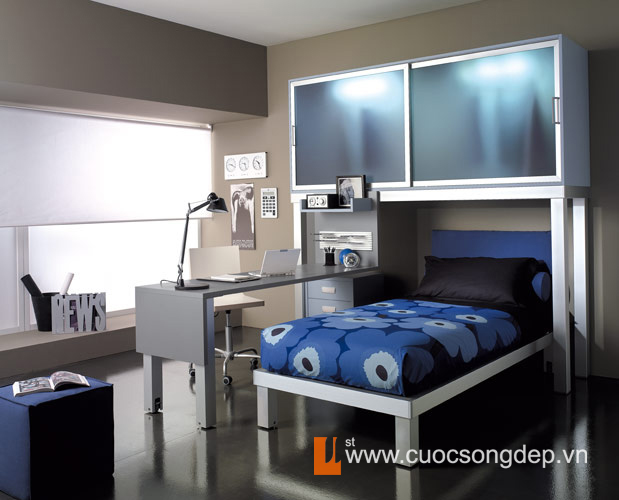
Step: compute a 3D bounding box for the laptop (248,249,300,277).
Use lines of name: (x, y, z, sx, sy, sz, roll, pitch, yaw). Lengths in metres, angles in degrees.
laptop: (-0.258, 0.096, 3.963, 0.272, 0.188, 0.249, -3, 5, -41)

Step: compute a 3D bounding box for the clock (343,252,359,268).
clock: (0.410, 0.106, 4.871, 0.122, 0.144, 0.053, 0, -10, 10)

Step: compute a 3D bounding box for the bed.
bed: (0.869, 0.540, 3.831, 1.295, 1.373, 2.319, 0, 2, 39)

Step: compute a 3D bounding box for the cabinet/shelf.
cabinet/shelf: (1.089, -0.251, 4.866, 2.717, 2.929, 0.688, 3, 6, 38)

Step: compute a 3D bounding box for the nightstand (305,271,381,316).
nightstand: (0.316, 0.268, 4.768, 0.563, 0.591, 0.394, 0, 1, 33)
